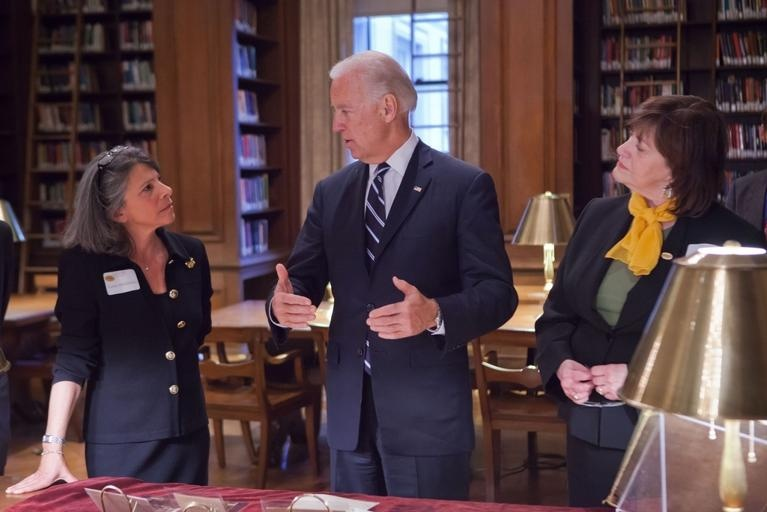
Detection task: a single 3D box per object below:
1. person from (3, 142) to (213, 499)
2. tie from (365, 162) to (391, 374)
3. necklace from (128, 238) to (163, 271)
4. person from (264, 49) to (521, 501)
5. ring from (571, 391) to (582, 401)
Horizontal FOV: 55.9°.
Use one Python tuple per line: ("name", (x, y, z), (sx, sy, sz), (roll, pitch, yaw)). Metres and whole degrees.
("person", (-1.022, 0.273, 2.953), (0.624, 1.458, 0.490), (-4, 5, -15))
("tie", (-0.019, 0.022, 2.770), (0.083, 0.847, 0.098), (2, -3, 0))
("necklace", (-0.995, -0.004, 3.055), (0.143, 0.144, 0.104), (-15, -6, 27))
("person", (0.024, 0.098, 2.700), (0.928, 1.728, 0.536), (-2, 5, 10))
("ring", (0.683, 0.503, 2.568), (0.022, 0.020, 0.017), (6, -5, -2))
